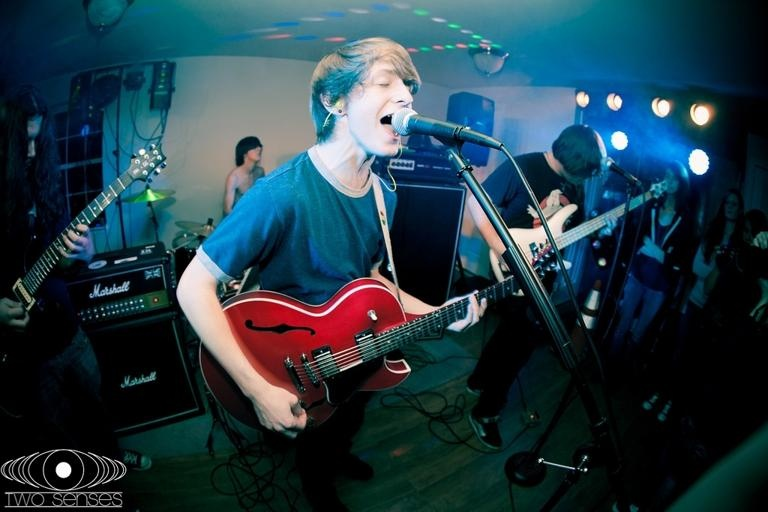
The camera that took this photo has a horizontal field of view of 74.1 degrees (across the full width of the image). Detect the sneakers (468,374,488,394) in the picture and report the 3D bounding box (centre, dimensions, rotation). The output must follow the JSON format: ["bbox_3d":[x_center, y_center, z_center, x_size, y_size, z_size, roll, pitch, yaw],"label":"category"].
[{"bbox_3d":[0.772,1.102,4.367,0.111,0.154,0.038,-3,-15,38],"label":"sneakers"}]

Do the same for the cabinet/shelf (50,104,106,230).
[{"bbox_3d":[-2.736,-0.810,4.513,0.464,1.163,0.132,-7,11,-34],"label":"cabinet/shelf"}]

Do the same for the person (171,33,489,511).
[{"bbox_3d":[-0.430,-0.115,3.072,0.779,2.290,1.366,17,23,41],"label":"person"}]

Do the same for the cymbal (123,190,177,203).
[{"bbox_3d":[-2.356,-0.588,5.030,0.238,0.058,0.241,3,16,1],"label":"cymbal"}]

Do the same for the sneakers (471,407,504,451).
[{"bbox_3d":[0.811,1.344,4.046,0.336,0.142,0.145,52,20,27],"label":"sneakers"}]

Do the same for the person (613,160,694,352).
[{"bbox_3d":[2.142,0.081,4.027,0.481,1.320,0.152,26,31,29],"label":"person"}]

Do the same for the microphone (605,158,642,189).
[{"bbox_3d":[1.862,-0.640,3.947,0.315,0.092,0.086,31,50,16],"label":"microphone"}]

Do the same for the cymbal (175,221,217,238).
[{"bbox_3d":[-1.964,-0.273,5.304,0.275,0.061,0.276,17,22,-31],"label":"cymbal"}]
